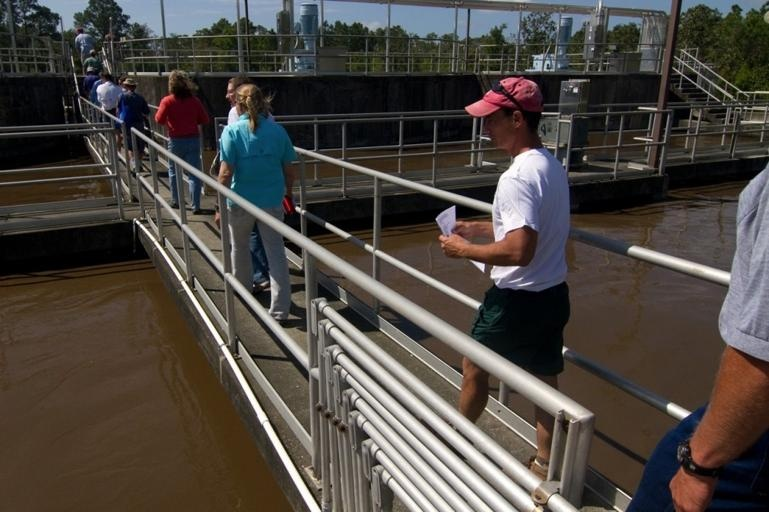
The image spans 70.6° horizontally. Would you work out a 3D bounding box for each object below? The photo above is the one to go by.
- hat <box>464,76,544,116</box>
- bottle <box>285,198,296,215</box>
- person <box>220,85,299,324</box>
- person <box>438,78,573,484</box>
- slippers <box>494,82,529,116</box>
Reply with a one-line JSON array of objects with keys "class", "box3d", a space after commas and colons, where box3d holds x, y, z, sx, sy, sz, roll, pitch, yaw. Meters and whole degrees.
[{"class": "hat", "box3d": [0.694, -0.888, 3.096, 0.369, 0.201, 0.241, 6, 18, 8]}, {"class": "bottle", "box3d": [-0.885, -0.463, 5.095, 0.074, 0.077, 0.314, -34, 28, 2]}, {"class": "person", "box3d": [-1.124, -0.466, 4.923, 0.665, 2.051, 0.885, -3, 18, -10]}, {"class": "person", "box3d": [0.712, 0.173, 3.077, 0.766, 2.226, 0.924, 2, 18, 4]}, {"class": "slippers", "box3d": [0.702, -0.871, 3.011, 0.209, 0.170, 0.059, 7, 19, 20]}]
